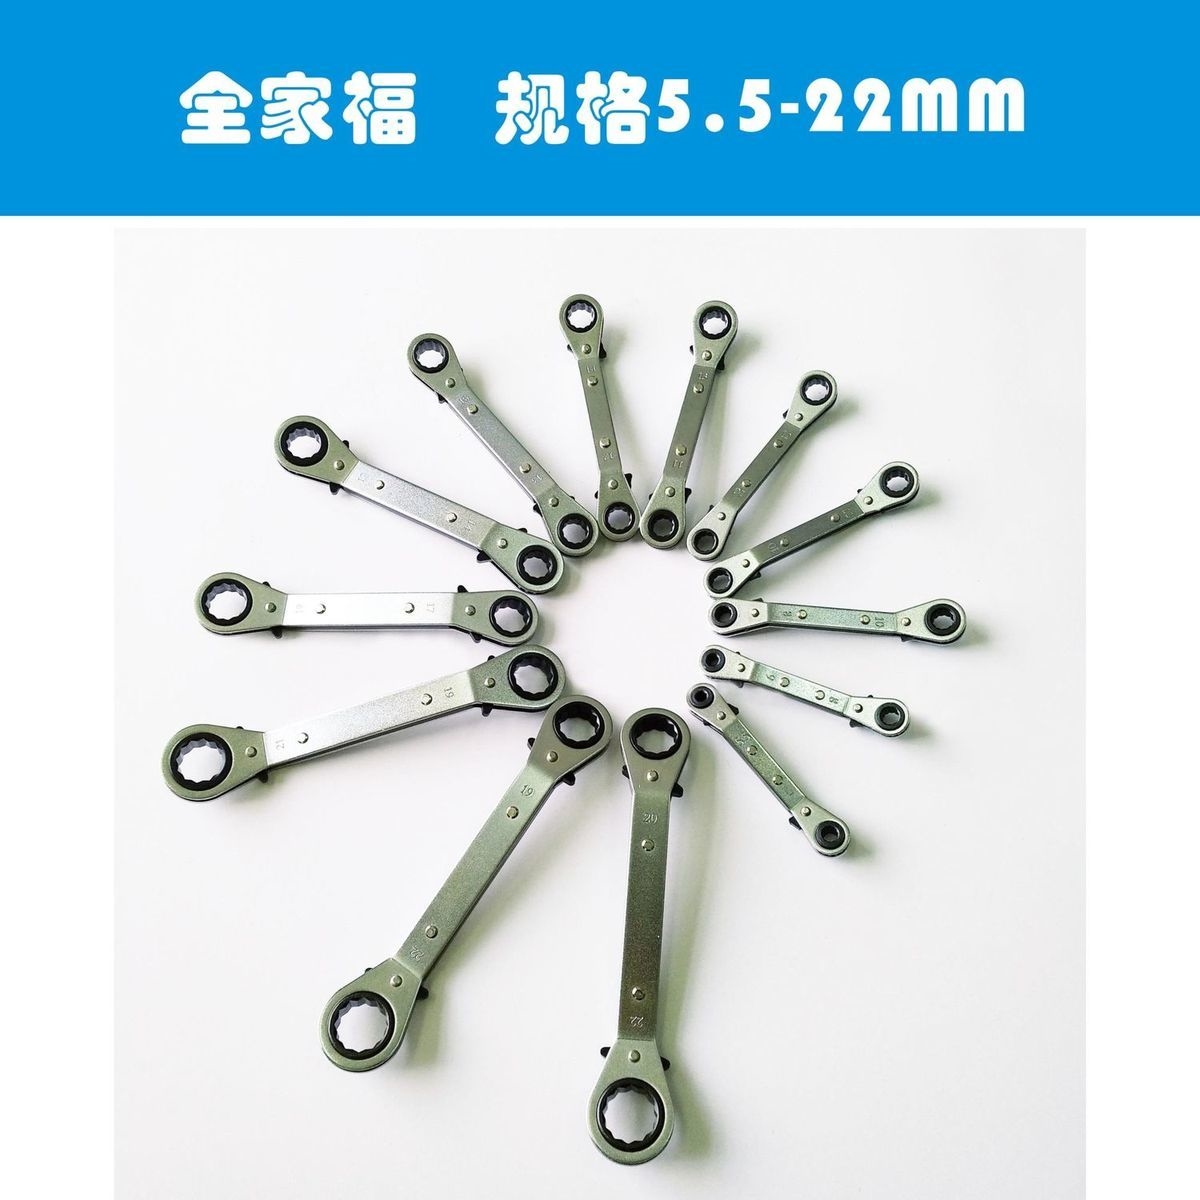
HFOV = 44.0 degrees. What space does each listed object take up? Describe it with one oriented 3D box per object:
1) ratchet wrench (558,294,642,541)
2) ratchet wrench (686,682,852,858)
[{"bbox_3d":[0.001,-0.276,2.182,0.075,0.495,0.044,-7,-9,2],"label":"ratchet wrench"},{"bbox_3d":[0.247,0.257,2.154,0.054,0.257,0.027,-30,-14,-14],"label":"ratchet wrench"}]
